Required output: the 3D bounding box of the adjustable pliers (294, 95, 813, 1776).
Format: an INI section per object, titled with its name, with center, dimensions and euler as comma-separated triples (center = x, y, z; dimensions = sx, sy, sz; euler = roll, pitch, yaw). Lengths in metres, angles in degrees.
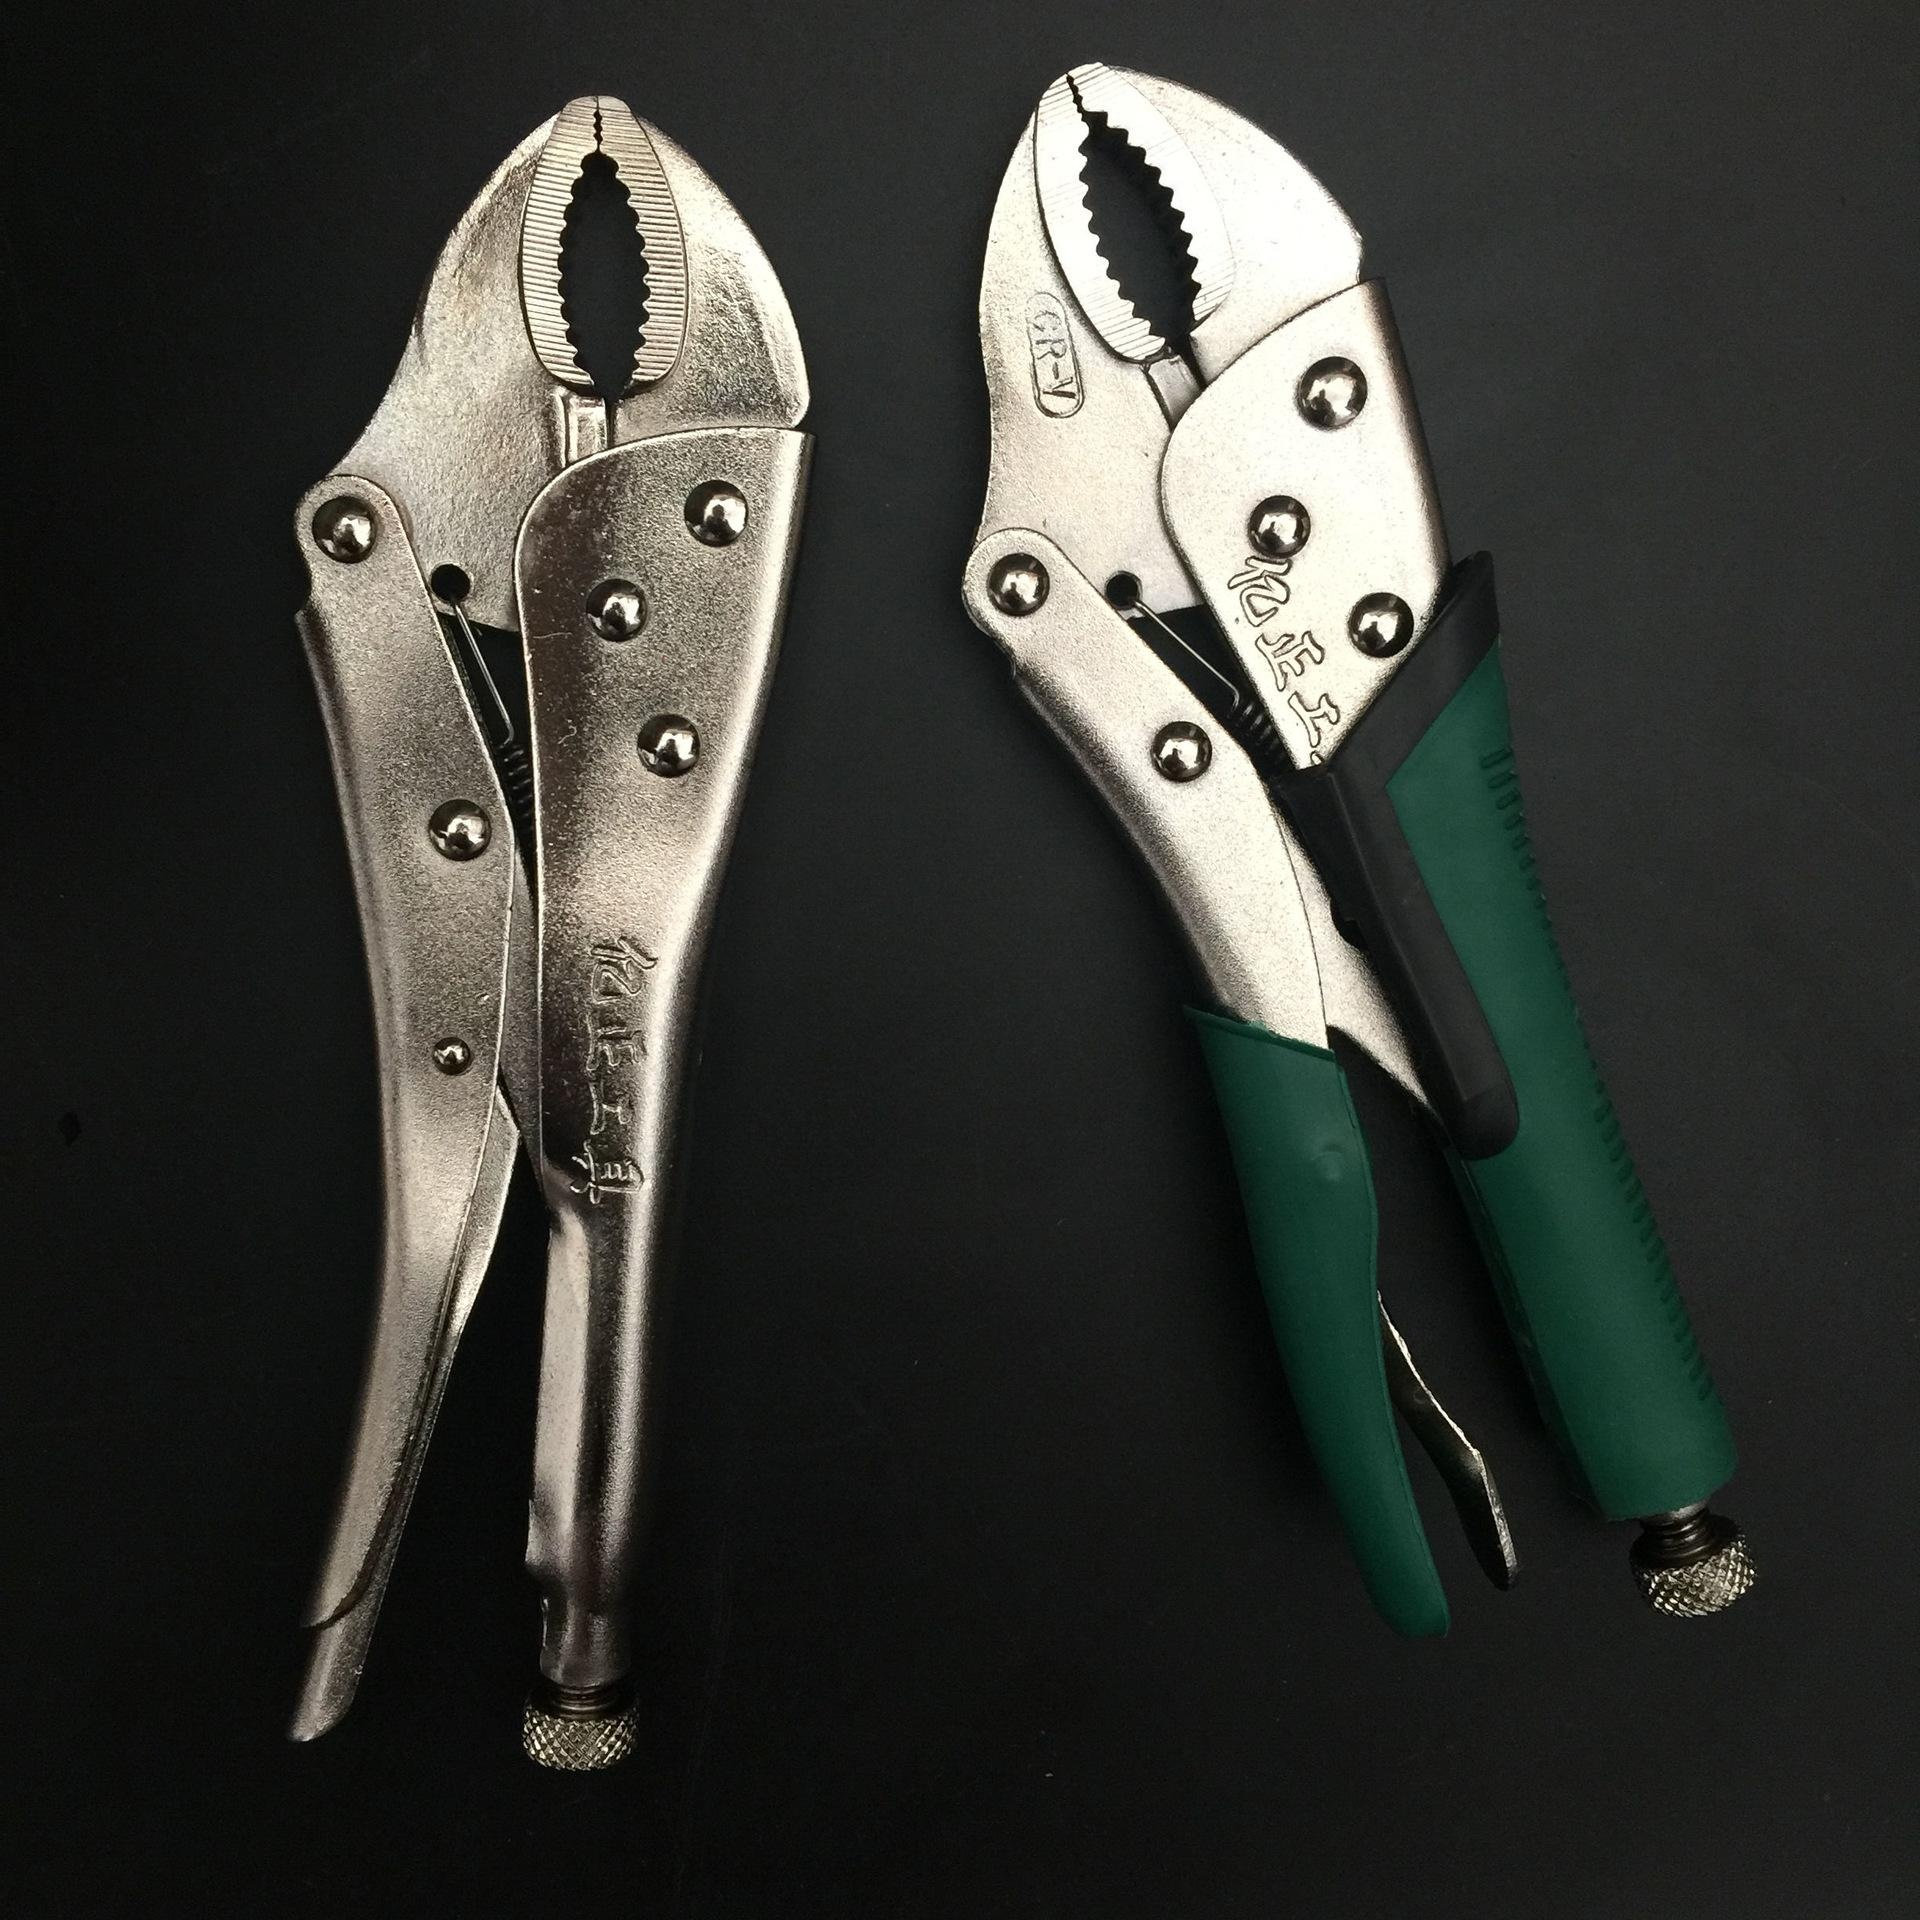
[adjustable pliers]
center = -0.133, -0.006, 0.977
dimensions = 0.163, 0.578, 0.058
euler = 1, -4, 1
